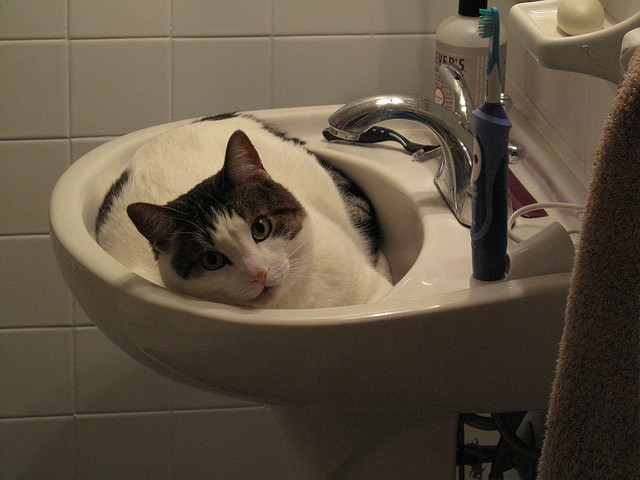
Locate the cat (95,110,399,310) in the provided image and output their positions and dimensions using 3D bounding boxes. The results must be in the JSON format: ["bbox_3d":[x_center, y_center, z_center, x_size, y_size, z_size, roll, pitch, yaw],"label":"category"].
[{"bbox_3d":[-0.091,-0.079,0.863,0.246,0.360,0.219,-8,-64,-16],"label":"cat"}]

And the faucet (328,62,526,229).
[{"bbox_3d":[0.127,-0.105,0.916,0.233,0.208,0.194,-8,-57,-14],"label":"faucet"}]

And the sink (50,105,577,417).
[{"bbox_3d":[0.004,0.015,0.912,0.508,0.596,0.201,-6,-63,-11],"label":"sink"}]
